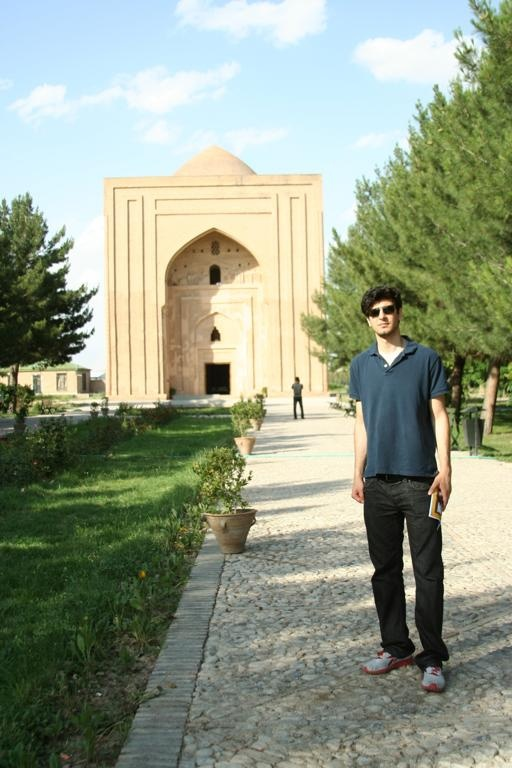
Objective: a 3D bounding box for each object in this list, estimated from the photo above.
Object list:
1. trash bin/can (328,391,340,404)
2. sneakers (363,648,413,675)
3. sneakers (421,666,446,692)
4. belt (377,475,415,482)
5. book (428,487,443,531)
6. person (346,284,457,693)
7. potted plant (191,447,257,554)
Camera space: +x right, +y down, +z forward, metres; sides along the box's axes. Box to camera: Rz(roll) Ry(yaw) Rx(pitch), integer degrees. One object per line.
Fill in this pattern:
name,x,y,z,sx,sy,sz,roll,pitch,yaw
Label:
trash bin/can,4.249,0.773,35.102,0.565,0.733,0.765,-2,2,6
sneakers,0.544,1.150,2.741,0.224,0.091,0.082,-1,-6,-22
sneakers,0.696,1.149,2.544,0.086,0.084,0.146,-2,3,15
belt,0.569,0.384,2.643,0.160,0.031,0.017,-1,3,30
book,0.706,0.489,2.570,0.025,0.187,0.168,-1,-7,34
person,0.594,0.391,2.660,0.391,1.610,0.354,-1,3,31
potted plant,-0.241,0.917,5.096,0.458,0.778,0.609,-3,3,-5
